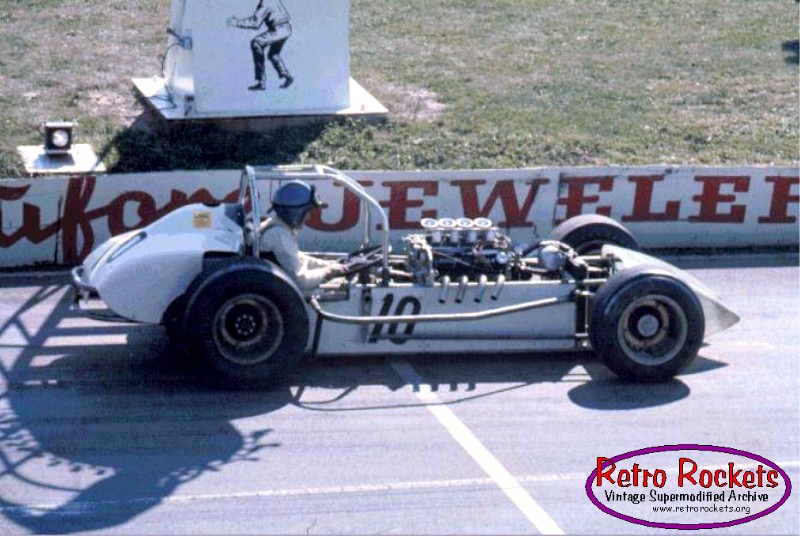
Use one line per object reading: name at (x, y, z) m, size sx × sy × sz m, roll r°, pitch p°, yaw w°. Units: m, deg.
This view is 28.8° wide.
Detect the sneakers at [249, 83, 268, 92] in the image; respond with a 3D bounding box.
sneakers at (-2.957, -3.785, 32.572) m, size 0.332 × 0.227 × 0.154 m, roll 3°, pitch 13°, yaw -9°
